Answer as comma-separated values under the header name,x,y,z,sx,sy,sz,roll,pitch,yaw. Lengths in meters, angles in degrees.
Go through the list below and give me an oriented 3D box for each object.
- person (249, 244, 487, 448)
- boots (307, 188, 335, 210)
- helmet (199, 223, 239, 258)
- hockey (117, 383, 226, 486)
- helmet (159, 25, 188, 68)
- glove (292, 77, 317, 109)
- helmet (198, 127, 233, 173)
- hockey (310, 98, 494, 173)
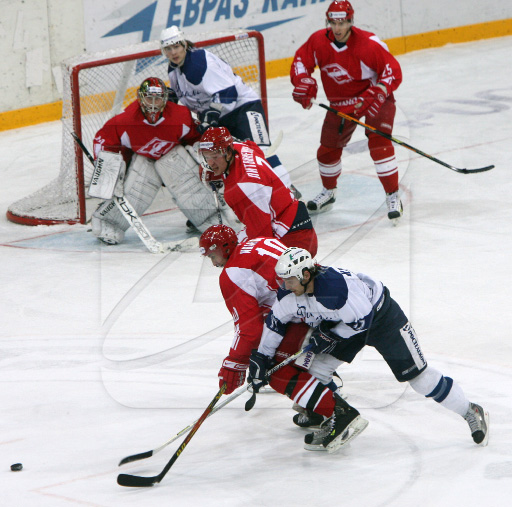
name,x,y,z,sx,sy,sz,roll,pitch,yaw
person,0.416,0.368,2.470,1.098,0.605,0.378,12,-29,-35
boots,0.322,-0.275,3.448,0.083,0.075,0.234,16,26,36
helmet,-0.142,-0.055,2.576,0.183,0.092,0.103,9,4,-6
hockey,-0.188,0.619,2.376,0.612,0.046,0.118,-25,58,-38
helmet,-0.502,-1.268,4.239,0.168,0.228,0.199,-5,10,-4
glove,0.295,-0.978,4.173,0.148,0.211,0.248,-3,9,5
helmet,-0.170,-0.444,2.978,0.140,0.214,0.190,-4,10,-1
hockey,0.964,-0.720,4.267,1.071,0.452,0.602,-8,10,-39
